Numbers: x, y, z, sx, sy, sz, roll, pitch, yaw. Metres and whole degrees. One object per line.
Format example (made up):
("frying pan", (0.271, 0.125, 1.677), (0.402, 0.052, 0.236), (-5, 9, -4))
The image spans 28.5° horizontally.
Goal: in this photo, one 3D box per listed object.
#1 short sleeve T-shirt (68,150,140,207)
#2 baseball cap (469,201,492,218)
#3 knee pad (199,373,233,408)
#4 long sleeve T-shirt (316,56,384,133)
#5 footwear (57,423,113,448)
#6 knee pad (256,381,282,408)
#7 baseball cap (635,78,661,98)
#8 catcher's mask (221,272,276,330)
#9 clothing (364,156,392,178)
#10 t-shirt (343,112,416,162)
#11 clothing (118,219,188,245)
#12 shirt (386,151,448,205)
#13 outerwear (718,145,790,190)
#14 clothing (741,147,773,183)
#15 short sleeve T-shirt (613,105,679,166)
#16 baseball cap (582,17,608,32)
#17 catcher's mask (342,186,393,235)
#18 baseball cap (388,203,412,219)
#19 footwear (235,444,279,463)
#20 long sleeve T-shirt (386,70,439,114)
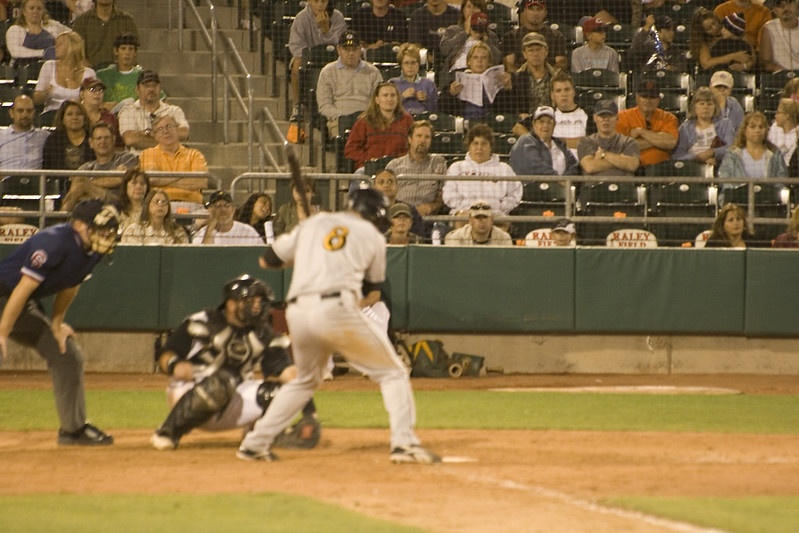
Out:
("short sleeve T-shirt", (-4.480, -1.267, 23.365), (1.123, 0.880, 0.943), (0, 2, -3))
("baseball cap", (1.214, -0.831, 23.269), (0.319, 0.220, 0.222), (0, 2, 4))
("knee pad", (-2.193, 1.494, 18.765), (0.430, 0.437, 0.090), (0, 2, -8))
("long sleeve T-shirt", (-0.766, -2.672, 25.424), (1.112, 1.371, 0.849), (1, -1, 13))
("footwear", (-3.839, 2.050, 19.057), (0.547, 0.212, 0.297), (0, -1, -2))
("knee pad", (-1.595, 1.527, 18.968), (0.248, 0.332, 0.137), (21, -11, 7))
("baseball cap", (4.016, -2.835, 25.101), (0.291, 0.198, 0.415), (8, 9, 8))
("catcher's mask", (-1.758, 0.370, 18.976), (0.589, 0.482, 0.623), (22, 18, 14))
("clothing", (-0.354, -1.519, 23.937), (0.332, 0.325, 0.079), (-2, -21, 12))
("t-shirt", (-0.192, -1.956, 24.468), (1.283, 0.976, 0.718), (2, -2, -1))
("clothing", (-3.689, -0.460, 23.327), (0.673, 0.254, 0.435), (1, -2, -3))
("shirt", (0.264, -1.283, 23.622), (0.898, 0.833, 0.463), (6, -9, -10))
("outerwear", (5.522, -1.446, 24.136), (1.170, 0.771, 0.575), (2, -37, 1))
("clothing", (5.481, -1.502, 24.130), (0.678, 0.627, 0.357), (1, -2, 7))
("short sleeve T-shirt", (4.009, -2.293, 25.357), (1.222, 0.519, 0.961), (-4, -5, 15))
("baseball cap", (3.319, -4.077, 26.642), (0.382, 0.139, 0.274), (6, 18, 36))
("catcher's mask", (-0.322, -0.700, 18.616), (0.555, 0.518, 0.404), (7, 15, -18))
("baseball cap", (0.005, -0.794, 23.116), (0.335, 0.163, 0.455), (0, -5, -1))
("footwear", (-1.700, 2.222, 18.610), (0.494, 0.209, 0.167), (2, 5, -2))
("long sleeve T-shirt", (0.255, -2.745, 25.684), (1.011, 0.947, 0.569), (1, -7, -9))
